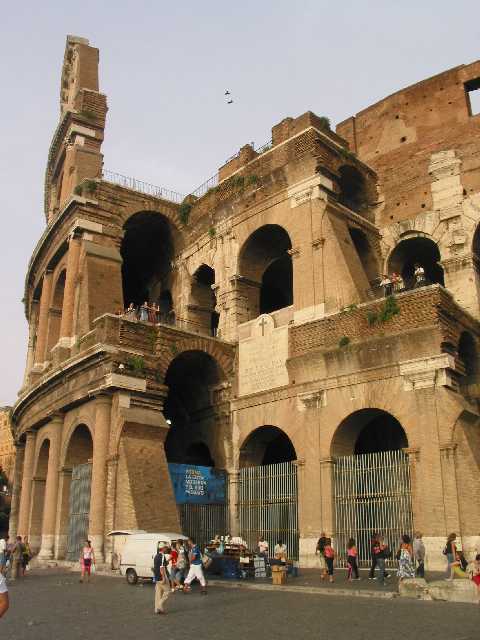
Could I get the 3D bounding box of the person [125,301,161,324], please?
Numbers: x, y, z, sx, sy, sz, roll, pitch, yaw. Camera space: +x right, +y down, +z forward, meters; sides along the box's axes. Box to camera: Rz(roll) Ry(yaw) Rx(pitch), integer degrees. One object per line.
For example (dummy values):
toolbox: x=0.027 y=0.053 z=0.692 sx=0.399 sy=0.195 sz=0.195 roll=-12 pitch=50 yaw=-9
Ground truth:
person: x=-3.475 y=-0.378 z=21.734 sx=1.143 sy=0.604 sz=1.577 roll=7 pitch=-17 yaw=-28

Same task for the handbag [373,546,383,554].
handbag: x=2.880 y=4.833 z=12.680 sx=0.109 sy=0.163 sz=0.061 roll=13 pitch=-2 yaw=21

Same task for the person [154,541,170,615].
person: x=-1.105 y=3.672 z=8.605 sx=0.233 sy=0.915 sz=0.355 roll=9 pitch=-21 yaw=-27

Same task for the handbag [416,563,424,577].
handbag: x=3.578 y=5.010 z=12.061 sx=0.123 sy=0.260 sz=0.242 roll=-2 pitch=-19 yaw=0
